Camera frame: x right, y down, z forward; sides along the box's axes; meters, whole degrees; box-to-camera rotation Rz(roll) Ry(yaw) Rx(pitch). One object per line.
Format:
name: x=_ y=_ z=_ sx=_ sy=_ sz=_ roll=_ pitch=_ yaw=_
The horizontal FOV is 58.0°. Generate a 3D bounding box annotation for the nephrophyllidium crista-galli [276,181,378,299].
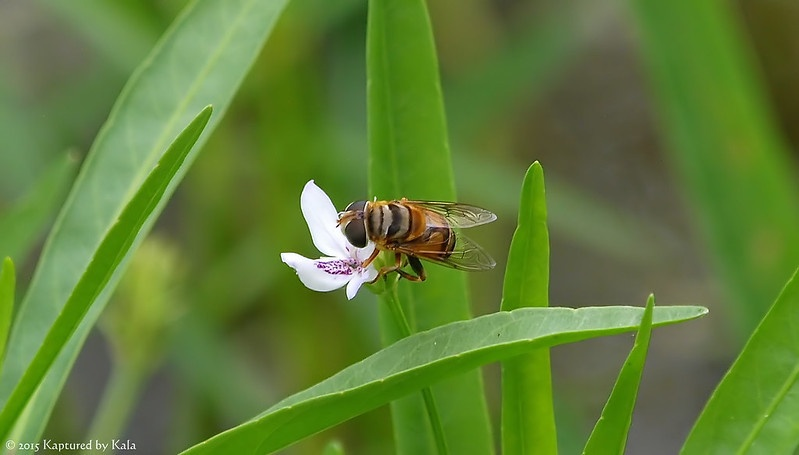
nephrophyllidium crista-galli: x=-0.170 y=0.045 z=1.649 sx=0.218 sy=0.213 sz=0.155 roll=37 pitch=-67 yaw=-24

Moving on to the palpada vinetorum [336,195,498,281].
palpada vinetorum: x=-0.006 y=0.018 z=1.759 sx=0.440 sy=0.214 sz=0.295 roll=-3 pitch=-90 yaw=-46
